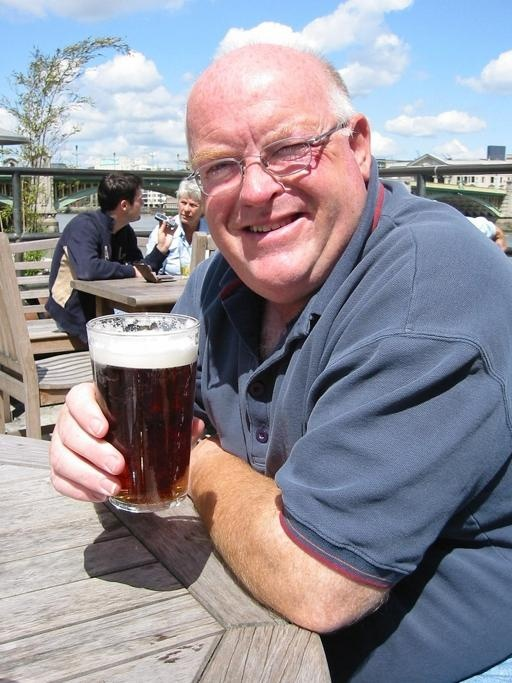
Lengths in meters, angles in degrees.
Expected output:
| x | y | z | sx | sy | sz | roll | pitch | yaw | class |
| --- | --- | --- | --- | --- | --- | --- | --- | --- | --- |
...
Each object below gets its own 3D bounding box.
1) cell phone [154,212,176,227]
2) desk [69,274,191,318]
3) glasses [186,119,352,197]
| x | y | z | sx | sy | sz | roll | pitch | yaw | class |
| --- | --- | --- | --- | --- | --- | --- | --- | --- | --- |
| -0.946 | -1.239 | 5.653 | 0.229 | 0.078 | 0.123 | 33 | 23 | 18 | cell phone |
| -0.762 | -0.320 | 3.683 | 0.564 | 0.318 | 0.571 | 15 | 22 | 42 | desk |
| 0.020 | -0.347 | 1.091 | 0.192 | 0.055 | 0.193 | -7 | 26 | 42 | glasses |
